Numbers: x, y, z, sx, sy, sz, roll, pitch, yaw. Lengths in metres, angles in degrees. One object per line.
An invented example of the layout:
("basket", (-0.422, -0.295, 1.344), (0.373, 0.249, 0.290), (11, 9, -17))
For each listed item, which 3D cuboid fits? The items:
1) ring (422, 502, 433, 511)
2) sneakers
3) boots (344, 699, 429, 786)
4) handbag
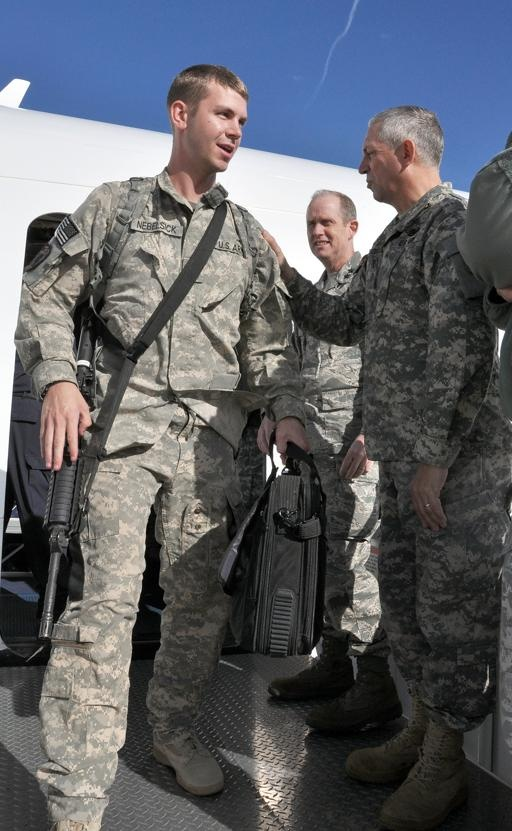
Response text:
("ring", (0.430, 0.231, 1.838), (0.017, 0.015, 0.017), (2, -3, 0))
("sneakers", (-0.198, 0.989, 2.104), (0.094, 0.096, 0.247), (-1, 0, -33))
("boots", (0.438, 0.975, 2.192), (0.376, 0.241, 0.132), (4, 8, -11))
("handbag", (0.046, 0.345, 1.886), (0.263, 0.538, 0.284), (2, -3, 3))
